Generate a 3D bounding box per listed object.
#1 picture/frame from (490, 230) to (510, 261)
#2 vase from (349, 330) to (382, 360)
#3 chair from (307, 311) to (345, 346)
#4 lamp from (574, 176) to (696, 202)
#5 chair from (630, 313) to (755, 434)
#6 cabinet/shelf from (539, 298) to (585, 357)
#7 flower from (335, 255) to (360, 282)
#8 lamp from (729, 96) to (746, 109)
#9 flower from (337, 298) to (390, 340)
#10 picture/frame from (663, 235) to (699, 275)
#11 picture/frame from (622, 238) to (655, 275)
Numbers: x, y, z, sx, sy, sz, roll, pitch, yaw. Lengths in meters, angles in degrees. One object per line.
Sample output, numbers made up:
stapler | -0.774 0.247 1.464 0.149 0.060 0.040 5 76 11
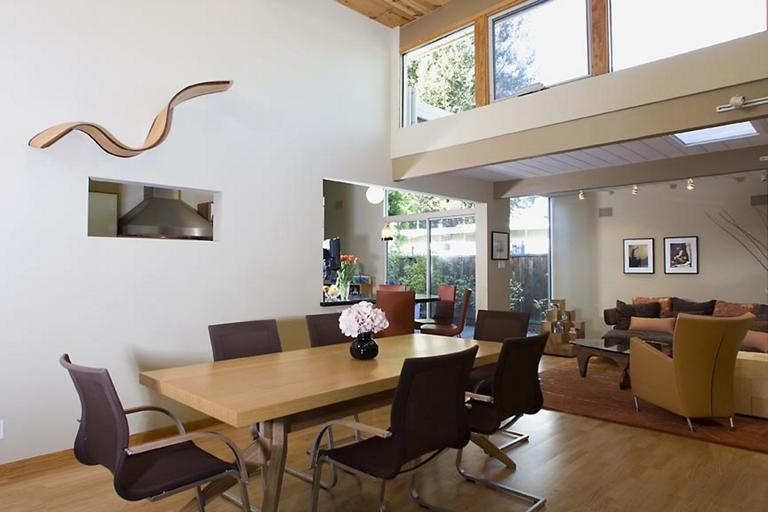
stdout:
picture/frame | 1.991 -0.194 8.960 0.039 0.441 0.515 -3 -6 41
vase | -0.152 0.764 4.540 0.232 0.226 0.232 3 -11 -12
chair | -0.596 0.702 5.313 0.314 0.547 0.320 0 -2 -34
lamp | 4.062 -1.076 8.519 1.797 0.416 2.327 5 11 29
chair | 3.512 1.233 5.936 0.952 1.202 1.140 1 -2 -12
cabinet/shelf | 3.085 1.209 9.061 0.368 0.923 0.649 -1 0 -43
flower | -0.545 0.159 7.199 0.394 0.438 0.325 -2 -7 18
lamp | 3.466 -1.500 5.122 0.107 0.141 0.140 0 2 -40
flower | -0.147 0.548 4.618 0.369 0.245 0.389 -2 7 -3
picture/frame | 5.062 -0.031 8.808 0.037 0.874 0.625 9 -8 -39
picture/frame | 4.562 -0.016 9.267 0.055 0.859 0.635 7 -4 -37
